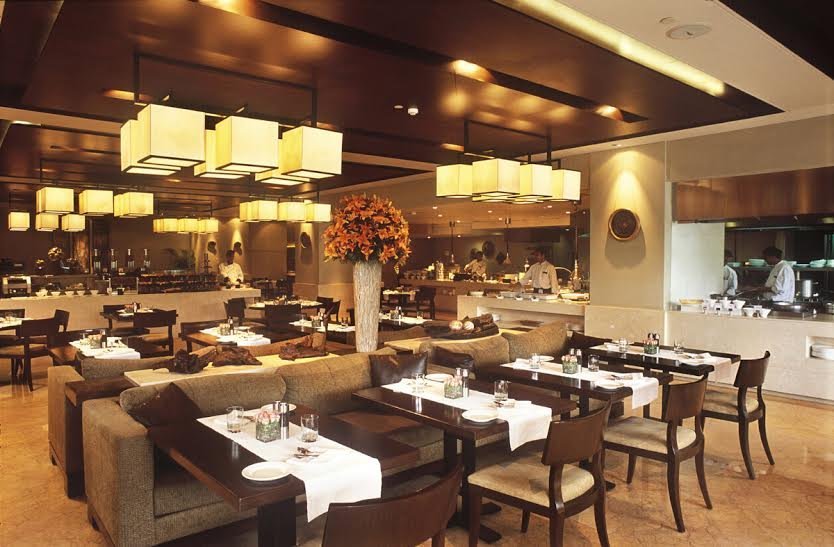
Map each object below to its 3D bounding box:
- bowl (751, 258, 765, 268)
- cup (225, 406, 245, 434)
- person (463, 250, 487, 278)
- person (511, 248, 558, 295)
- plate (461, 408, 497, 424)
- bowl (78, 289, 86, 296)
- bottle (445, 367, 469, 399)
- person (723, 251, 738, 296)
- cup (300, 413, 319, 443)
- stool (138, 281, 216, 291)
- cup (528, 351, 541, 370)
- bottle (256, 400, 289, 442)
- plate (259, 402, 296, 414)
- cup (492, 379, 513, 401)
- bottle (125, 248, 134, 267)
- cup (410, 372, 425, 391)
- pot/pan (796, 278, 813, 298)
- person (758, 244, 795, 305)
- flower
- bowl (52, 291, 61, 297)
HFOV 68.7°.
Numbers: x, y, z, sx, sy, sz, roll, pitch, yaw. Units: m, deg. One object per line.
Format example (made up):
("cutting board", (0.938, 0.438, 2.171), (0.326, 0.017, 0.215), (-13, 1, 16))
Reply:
("bowl", (5.578, -0.171, 9.962), (0.142, 0.086, 0.139), (2, 0, 0))
("cup", (-1.524, 1.217, 5.107), (0.148, 0.208, 0.194), (-1, 1, -17))
("person", (1.536, -0.220, 16.246), (0.502, 0.718, 0.810), (-1, 0, 1))
("person", (2.443, -0.048, 12.156), (0.724, 0.870, 0.987), (-1, 0, 11))
("plate", (0.551, 1.246, 5.288), (0.312, 0.068, 0.215), (-1, 0, -6))
("bowl", (-6.694, 0.385, 12.131), (0.144, 0.074, 0.140), (0, -3, 0))
("bottle", (0.365, 1.031, 5.715), (0.256, 0.334, 0.255), (1, 4, 0))
("person", (5.247, -0.003, 10.181), (0.244, 0.778, 0.125), (0, 1, 25))
("cup", (-0.848, 1.244, 4.856), (0.197, 0.205, 0.194), (0, -5, 0))
("stool", (-5.199, 0.286, 13.281), (1.653, 0.250, 0.800), (-1, 0, -36))
("cup", (1.290, 0.971, 6.678), (0.142, 0.143, 0.137), (-2, 4, 0))
("bottle", (-1.169, 1.190, 5.012), (0.280, 0.322, 0.288), (2, 3, 37))
("plate", (-1.166, 1.131, 5.095), (0.180, 0.040, 0.175), (2, 1, 5))
("cup", (0.811, 1.084, 5.640), (0.109, 0.181, 0.227), (0, 1, 39))
("bottle", (-8.884, -0.495, 18.861), (0.264, 0.558, 0.207), (-1, 1, -37))
("cup", (0.004, 1.077, 5.965), (0.103, 0.160, 0.104), (-1, 7, 0))
("pot/pan", (6.082, 0.259, 9.543), (0.243, 0.304, 0.157), (0, 1, 29))
("person", (5.695, -0.008, 9.551), (0.486, 0.863, 0.642), (0, 1, 21))
("flower", (-0.612, -0.496, 7.427), (0.966, 0.940, 0.931), (1, 5, -3))
("bowl", (-7.139, 0.399, 12.017), (0.174, 0.096, 0.176), (1, -3, 0))
